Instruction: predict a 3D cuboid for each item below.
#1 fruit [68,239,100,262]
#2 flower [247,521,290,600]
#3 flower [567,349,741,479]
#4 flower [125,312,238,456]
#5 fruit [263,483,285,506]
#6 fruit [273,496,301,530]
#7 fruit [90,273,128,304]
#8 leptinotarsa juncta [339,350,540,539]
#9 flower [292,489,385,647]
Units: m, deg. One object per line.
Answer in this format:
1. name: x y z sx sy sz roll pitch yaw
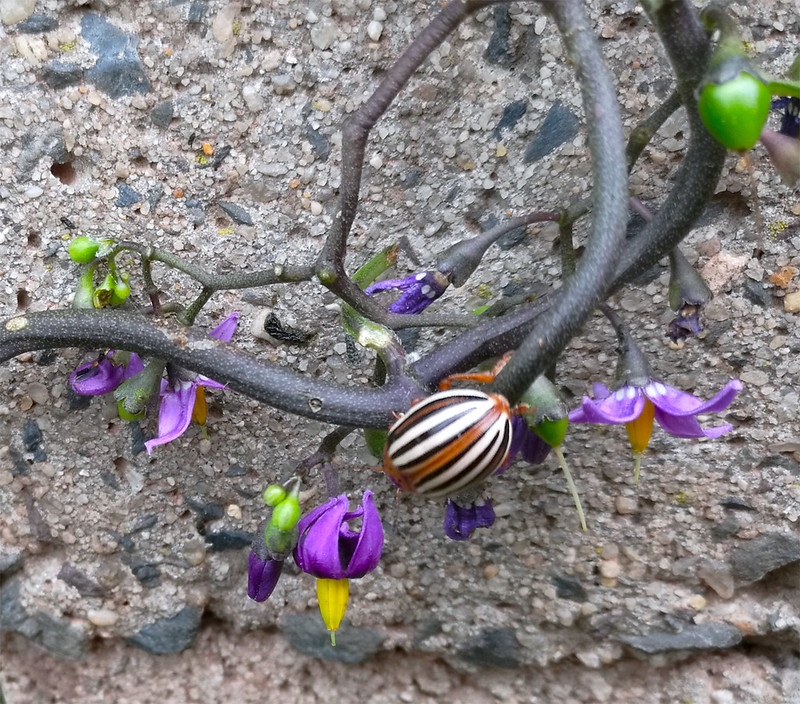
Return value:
1. fruit: -0.408 -0.131 1.200 0.020 0.028 0.021 -45 60 20
2. flower: -0.163 0.238 1.115 0.050 0.051 0.158 4 123 -8
3. flower: 0.275 0.073 1.070 0.202 0.212 0.111 10 98 24
4. flower: -0.291 0.036 1.226 0.173 0.065 0.215 -12 49 5
5. fruit: -0.144 0.160 1.073 0.021 0.026 0.023 14 116 36
6. fruit: -0.127 0.180 1.033 0.029 0.017 0.037 47 114 0
7. fruit: -0.379 -0.073 1.226 0.050 0.029 0.040 -17 35 49
8. leptinotarsa juncta: 0.055 0.088 0.950 0.189 0.065 0.201 -33 83 17
9. flower: -0.070 0.247 1.062 0.096 0.084 0.183 3 91 23
